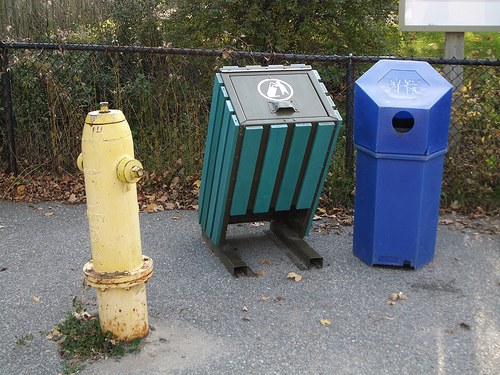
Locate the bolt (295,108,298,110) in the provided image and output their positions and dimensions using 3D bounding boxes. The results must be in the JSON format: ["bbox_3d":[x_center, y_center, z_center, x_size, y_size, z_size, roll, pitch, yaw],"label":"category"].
[{"bbox_3d":[0.419,-0.721,4.416,0.027,0.016,0.026,3,-24,-7],"label":"bolt"}]

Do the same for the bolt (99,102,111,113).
[{"bbox_3d":[-1.050,-0.583,3.495,0.073,0.065,0.075,2,14,1],"label":"bolt"}]

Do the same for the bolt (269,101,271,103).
[{"bbox_3d":[0.178,-0.784,4.387,0.022,0.013,0.023,2,-13,-3],"label":"bolt"}]

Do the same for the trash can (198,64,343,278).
[{"bbox_3d":[0.175,-0.190,4.672,1.291,1.867,0.813,-5,22,-11],"label":"trash can"}]

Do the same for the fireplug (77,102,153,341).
[{"bbox_3d":[-1.016,0.290,3.577,0.491,1.757,0.469,-9,23,-21],"label":"fireplug"}]

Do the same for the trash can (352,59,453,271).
[{"bbox_3d":[1.413,-0.176,4.669,0.888,1.838,0.625,4,22,11],"label":"trash can"}]

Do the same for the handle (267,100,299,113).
[{"bbox_3d":[0.295,-0.750,4.380,0.165,0.034,0.159,2,47,-10],"label":"handle"}]

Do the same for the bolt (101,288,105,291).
[{"bbox_3d":[-1.079,0.751,3.552,0.029,0.028,0.017,2,-4,-4],"label":"bolt"}]

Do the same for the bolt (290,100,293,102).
[{"bbox_3d":[0.377,-0.803,4.453,0.018,0.017,0.018,-2,9,-24],"label":"bolt"}]
